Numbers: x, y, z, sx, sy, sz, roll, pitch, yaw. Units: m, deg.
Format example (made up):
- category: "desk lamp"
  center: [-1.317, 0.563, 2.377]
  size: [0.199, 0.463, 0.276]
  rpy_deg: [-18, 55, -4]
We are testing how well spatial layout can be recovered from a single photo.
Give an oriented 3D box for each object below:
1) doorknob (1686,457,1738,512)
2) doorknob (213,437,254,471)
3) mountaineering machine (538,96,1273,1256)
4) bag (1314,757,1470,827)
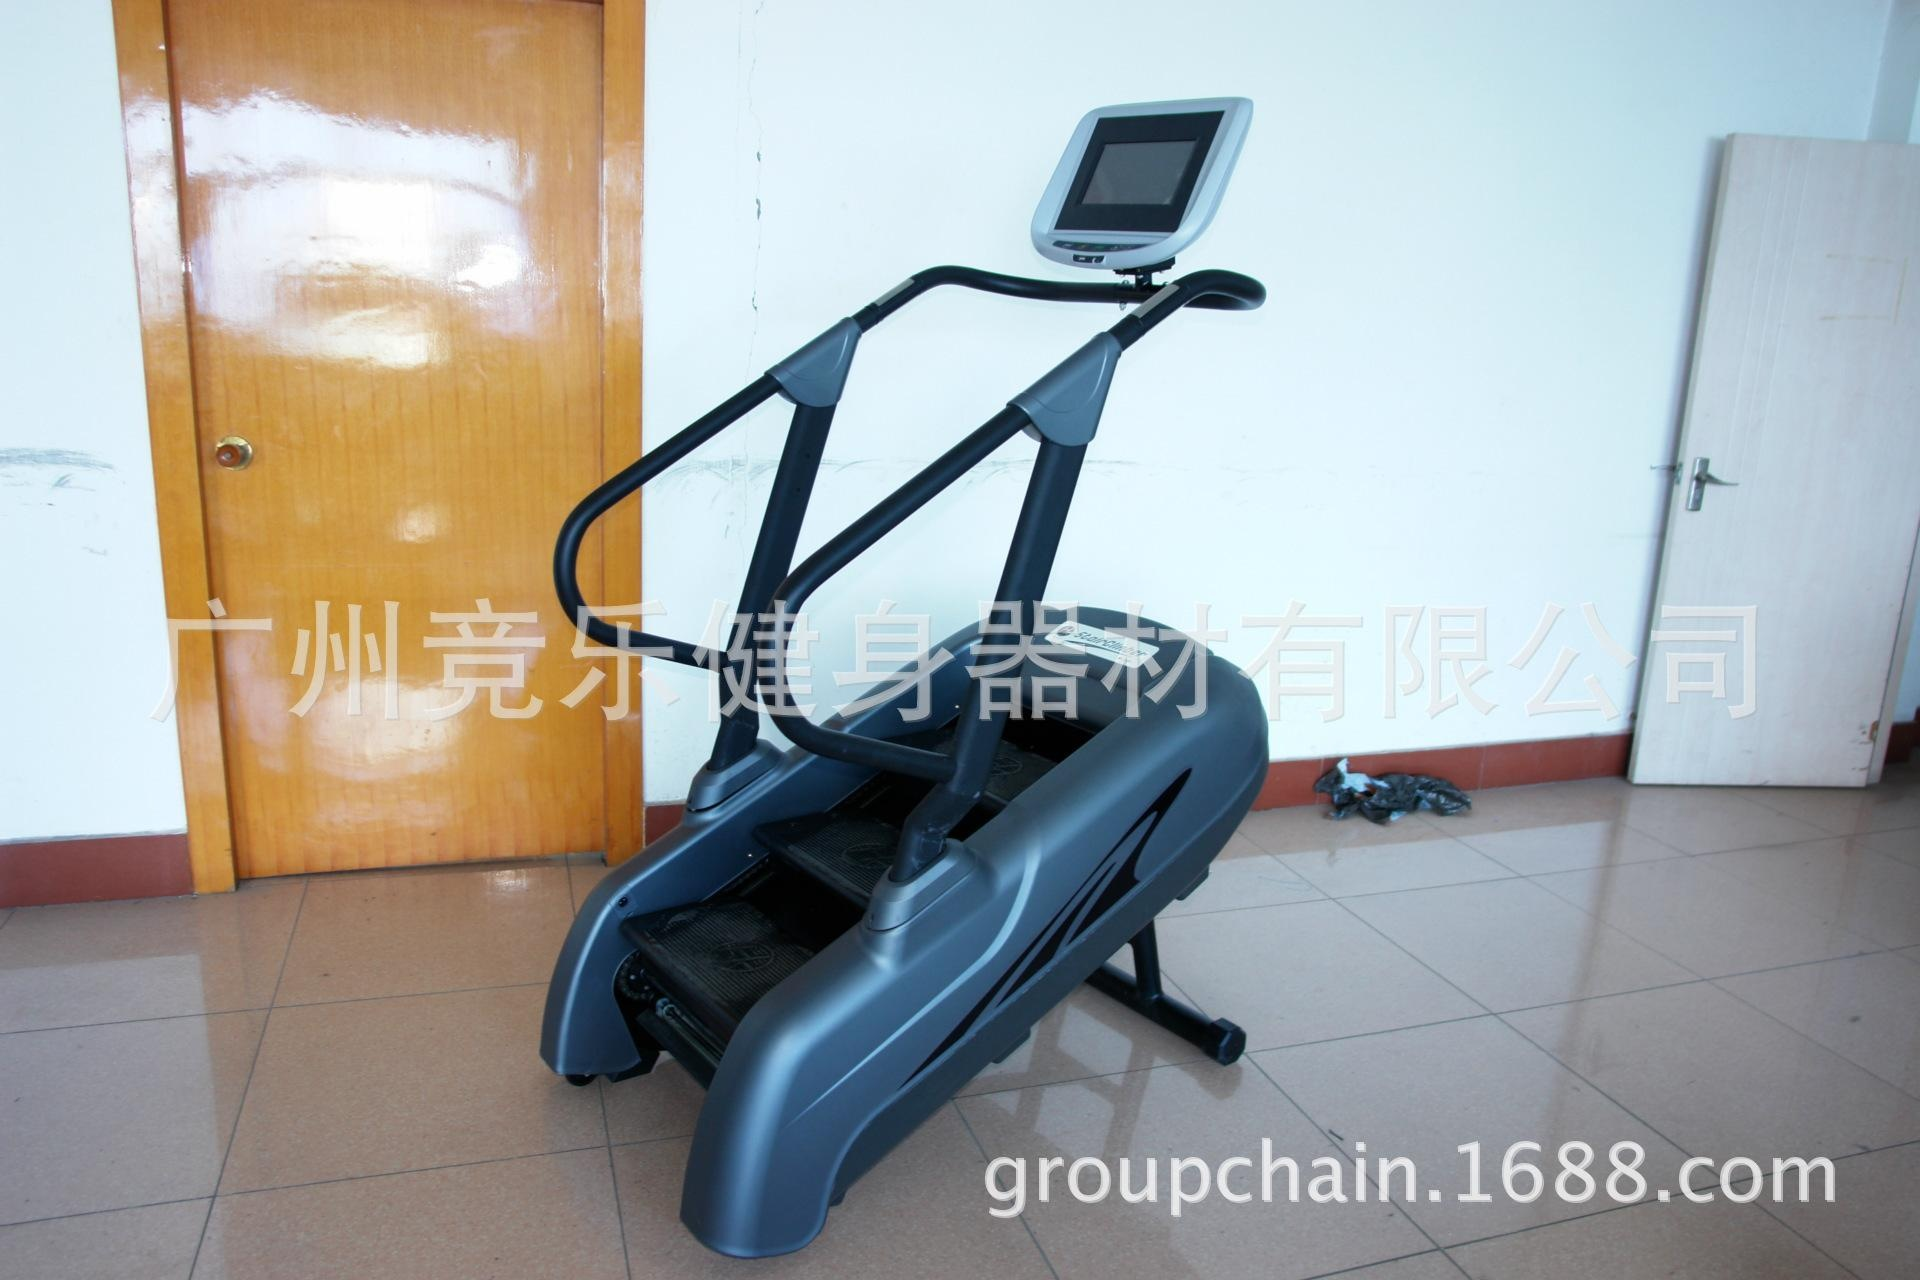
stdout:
- category: "doorknob"
  center: [2.745, -0.572, 4.862]
  size: [0.191, 0.190, 0.055]
  rpy_deg: [-3, 19, -19]
- category: "doorknob"
  center: [-2.074, -0.535, 3.792]
  size: [0.096, 0.091, 0.039]
  rpy_deg: [16, 17, -13]
- category: "mountaineering machine"
  center: [-0.128, 0.002, 3.353]
  size: [1.853, 2.297, 1.243]
  rpy_deg: [-14, 21, -38]
- category: "bag"
  center: [1.537, 0.542, 4.766]
  size: [0.431, 0.146, 0.265]
  rpy_deg: [1, 15, 3]
